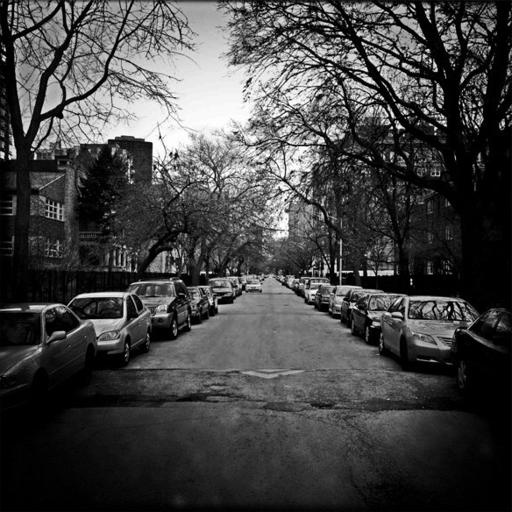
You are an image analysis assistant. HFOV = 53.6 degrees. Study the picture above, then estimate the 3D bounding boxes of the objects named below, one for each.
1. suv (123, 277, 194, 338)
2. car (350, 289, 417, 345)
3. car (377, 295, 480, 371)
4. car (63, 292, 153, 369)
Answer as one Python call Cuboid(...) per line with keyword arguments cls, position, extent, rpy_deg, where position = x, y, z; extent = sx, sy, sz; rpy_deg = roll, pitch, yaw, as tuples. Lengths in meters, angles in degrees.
Cuboid(cls="suv", position=(-2.939, 1.589, 16.249), extent=(1.021, 1.292, 2.561), rpy_deg=(0, -9, 4))
Cuboid(cls="car", position=(3.396, 1.716, 13.902), extent=(1.033, 1.137, 2.761), rpy_deg=(0, -6, 0))
Cuboid(cls="car", position=(3.459, 1.587, 10.976), extent=(0.973, 1.038, 2.635), rpy_deg=(0, -8, 2))
Cuboid(cls="car", position=(-3.124, 1.536, 11.419), extent=(0.916, 1.030, 2.175), rpy_deg=(0, -7, 3))
